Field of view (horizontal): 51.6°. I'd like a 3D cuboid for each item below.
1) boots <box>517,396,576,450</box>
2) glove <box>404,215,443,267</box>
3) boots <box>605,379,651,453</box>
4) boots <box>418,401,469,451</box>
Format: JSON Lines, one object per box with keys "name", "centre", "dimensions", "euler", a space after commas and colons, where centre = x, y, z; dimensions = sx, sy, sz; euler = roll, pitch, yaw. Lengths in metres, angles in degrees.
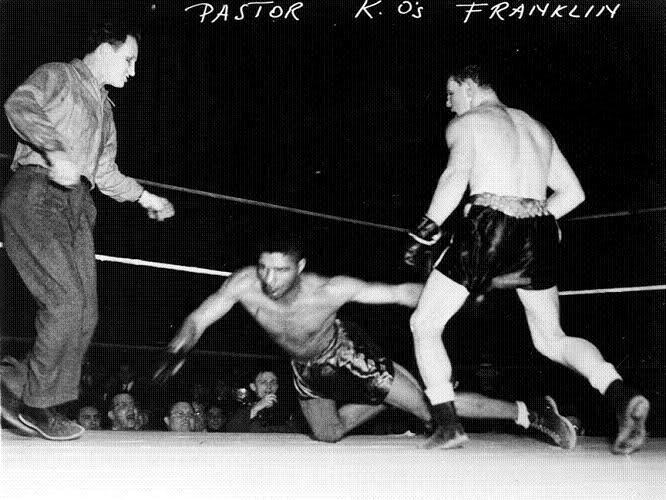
{"name": "boots", "centre": [1.106, 0.877, 3.506], "dimensions": [0.160, 0.134, 0.384], "euler": [10, 23, -20]}
{"name": "glove", "centre": [0.460, -0.032, 3.448], "dimensions": [0.067, 0.258, 0.162], "euler": [-10, 49, -37]}
{"name": "boots", "centre": [1.390, 0.780, 3.314], "dimensions": [0.145, 0.398, 0.279], "euler": [-2, 9, -2]}
{"name": "boots", "centre": [0.546, 0.863, 3.326], "dimensions": [0.266, 0.275, 0.205], "euler": [-7, -4, 19]}
